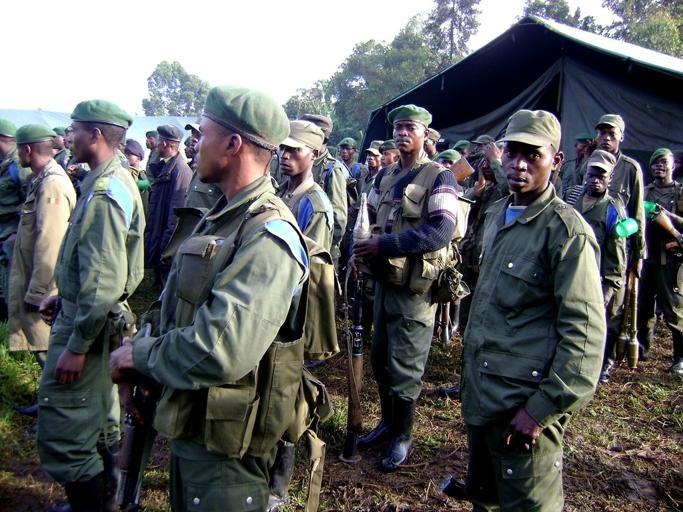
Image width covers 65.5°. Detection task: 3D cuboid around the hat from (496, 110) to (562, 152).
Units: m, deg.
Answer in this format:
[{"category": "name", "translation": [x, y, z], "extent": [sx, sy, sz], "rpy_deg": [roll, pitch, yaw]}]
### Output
[{"category": "hat", "translation": [1.183, -0.768, 3.264], "extent": [0.305, 0.174, 0.235], "rpy_deg": [-1, 10, -39]}]

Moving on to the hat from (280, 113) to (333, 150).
[{"category": "hat", "translation": [-0.326, -1.025, 4.547], "extent": [0.472, 0.248, 0.340], "rpy_deg": [9, 16, -31]}]

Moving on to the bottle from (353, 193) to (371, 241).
[{"category": "bottle", "translation": [0.190, -0.312, 4.572], "extent": [0.149, 0.458, 0.317], "rpy_deg": [6, -4, 4]}]
